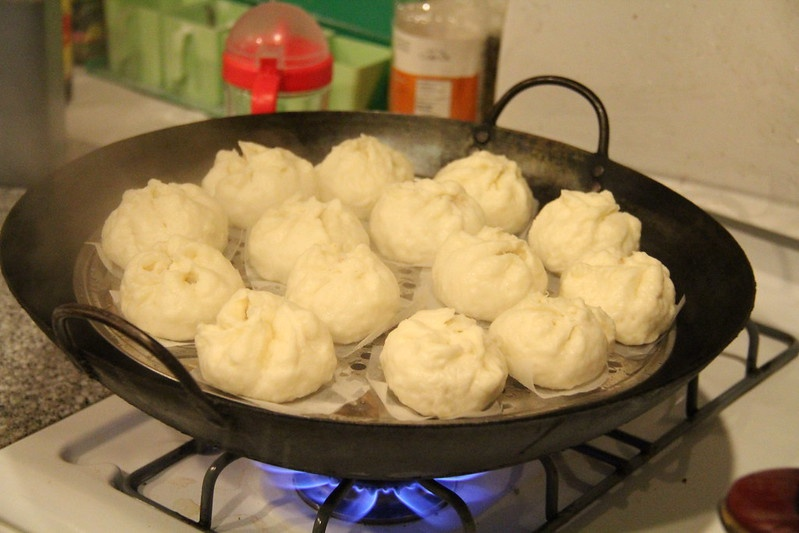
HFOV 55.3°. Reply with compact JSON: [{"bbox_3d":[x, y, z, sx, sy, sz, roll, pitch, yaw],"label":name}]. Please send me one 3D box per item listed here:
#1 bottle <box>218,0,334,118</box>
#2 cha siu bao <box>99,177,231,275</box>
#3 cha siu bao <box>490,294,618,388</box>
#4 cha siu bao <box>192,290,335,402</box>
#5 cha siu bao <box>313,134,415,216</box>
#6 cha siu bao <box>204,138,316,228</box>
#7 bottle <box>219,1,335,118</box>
[{"bbox_3d":[-0.348,-0.610,2.252,0.296,0.369,0.436,6,30,5],"label":"bottle"},{"bbox_3d":[-0.575,-0.119,1.837,0.252,0.089,0.253,31,52,10],"label":"cha siu bao"},{"bbox_3d":[0.321,0.163,1.636,0.234,0.076,0.198,-5,44,-5],"label":"cha siu bao"},{"bbox_3d":[-0.284,0.166,1.598,0.296,0.153,0.216,6,38,3],"label":"cha siu bao"},{"bbox_3d":[-0.125,-0.243,2.096,0.242,0.140,0.238,33,52,18],"label":"cha siu bao"},{"bbox_3d":[-0.370,-0.225,1.980,0.244,0.098,0.240,-17,55,-18],"label":"cha siu bao"},{"bbox_3d":[-0.338,-0.609,2.248,0.295,0.368,0.436,6,31,6],"label":"bottle"}]
